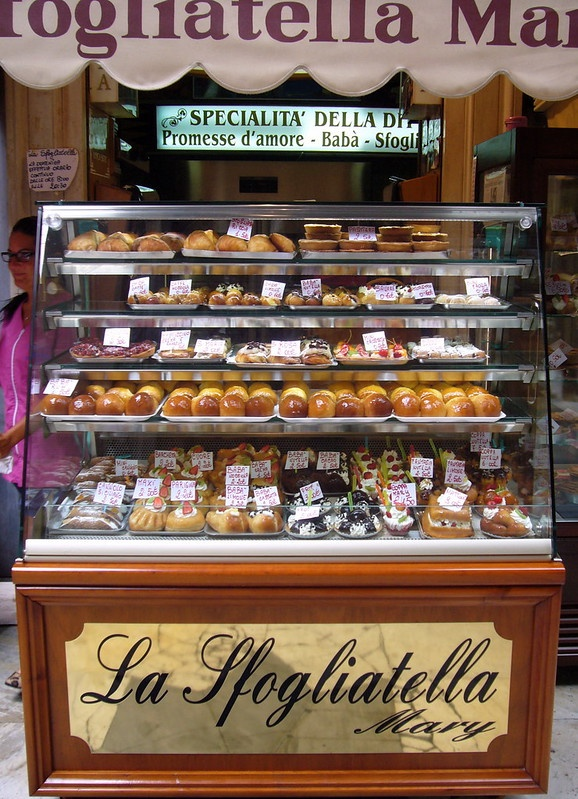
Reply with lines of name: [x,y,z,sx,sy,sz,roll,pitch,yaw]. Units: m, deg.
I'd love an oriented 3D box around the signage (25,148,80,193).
signage: [-1.221,-1.170,3.326,0.258,0.208,0.035,-2,3,-10]

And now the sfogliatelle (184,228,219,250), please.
sfogliatelle: [-0.313,-0.551,2.320,0.104,0.050,0.077,-4,39,23]
